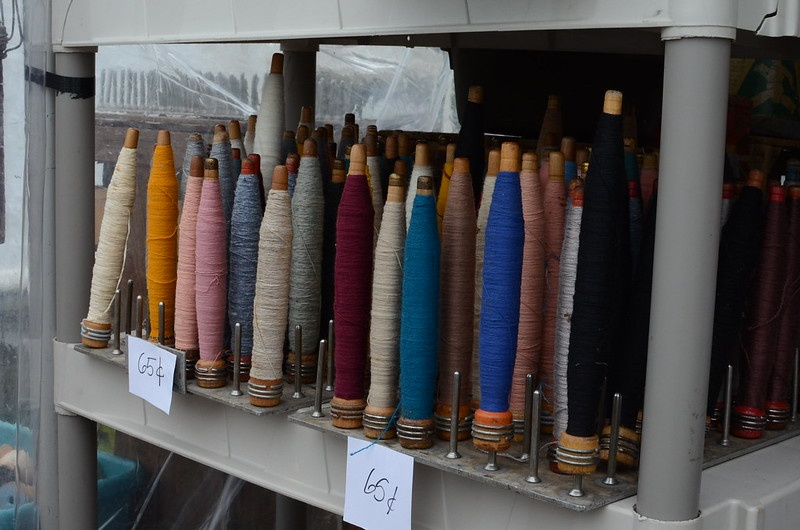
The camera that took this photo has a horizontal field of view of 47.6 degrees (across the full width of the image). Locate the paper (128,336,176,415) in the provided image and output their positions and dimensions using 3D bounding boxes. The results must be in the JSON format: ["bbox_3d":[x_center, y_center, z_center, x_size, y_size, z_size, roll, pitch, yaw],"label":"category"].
[{"bbox_3d":[-0.323,0.143,1.200,0.113,0.076,0.005,19,20,38],"label":"paper"}]
